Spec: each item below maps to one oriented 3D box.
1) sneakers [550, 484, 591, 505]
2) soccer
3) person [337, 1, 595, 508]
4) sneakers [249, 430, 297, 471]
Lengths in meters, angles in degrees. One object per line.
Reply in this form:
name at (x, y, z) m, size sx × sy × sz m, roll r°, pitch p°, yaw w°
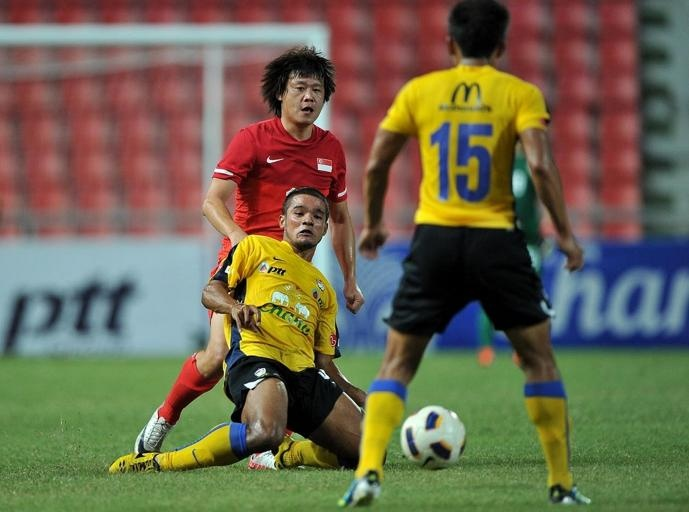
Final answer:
sneakers at (1.361, 1.433, 6.112) m, size 0.285 × 0.151 × 0.102 m, roll -1°, pitch 5°, yaw -15°
soccer at (0.620, 1.271, 7.022) m, size 0.429 × 0.509 × 0.479 m, roll 0°, pitch -19°, yaw 0°
person at (0.746, -0.052, 6.134) m, size 1.354 × 3.028 × 0.548 m, roll 1°, pitch 3°, yaw -1°
sneakers at (-0.489, 1.352, 6.964) m, size 0.361 × 0.196 × 0.143 m, roll -7°, pitch 1°, yaw -6°
